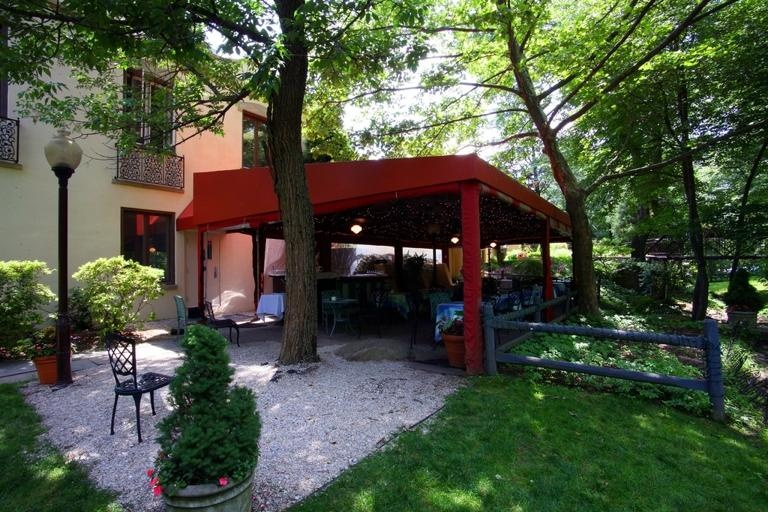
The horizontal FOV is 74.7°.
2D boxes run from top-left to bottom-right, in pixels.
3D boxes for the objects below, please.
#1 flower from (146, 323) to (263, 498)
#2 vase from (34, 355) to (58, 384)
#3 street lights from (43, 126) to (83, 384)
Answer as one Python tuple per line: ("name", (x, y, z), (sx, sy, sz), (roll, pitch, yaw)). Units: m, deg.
("flower", (-2.222, 1.443, 6.049), (0.961, 1.108, 0.978), (-7, 5, -17))
("vase", (-5.744, 1.929, 8.542), (0.373, 0.503, 0.146), (-3, -1, -2))
("street lights", (-5.619, -0.070, 8.789), (0.492, 4.557, 0.881), (-2, -2, -45))
